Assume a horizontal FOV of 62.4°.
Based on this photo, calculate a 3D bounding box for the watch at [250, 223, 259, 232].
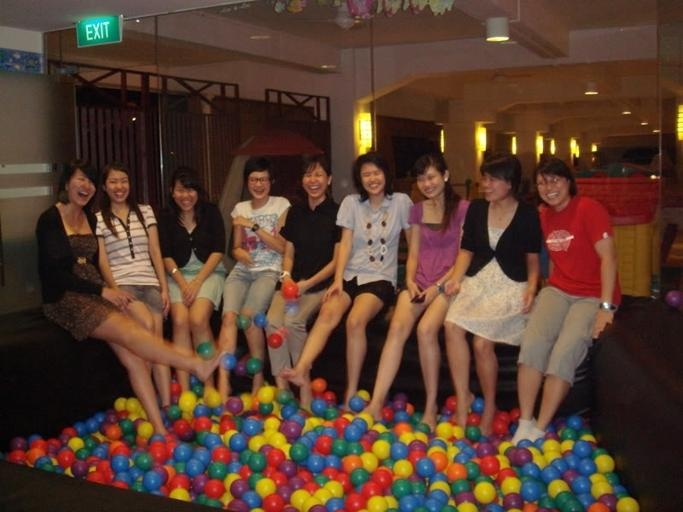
[{"bbox_3d":[-0.624,-0.198,4.044,0.060,0.059,0.045,6,56,-29],"label":"watch"}]

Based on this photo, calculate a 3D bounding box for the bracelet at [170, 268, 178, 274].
[{"bbox_3d":[-1.193,0.109,4.026,0.038,0.038,0.034,44,46,21],"label":"bracelet"}]

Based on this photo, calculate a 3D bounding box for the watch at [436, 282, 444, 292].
[{"bbox_3d":[0.631,0.205,3.598,0.036,0.025,0.049,4,56,-1],"label":"watch"}]

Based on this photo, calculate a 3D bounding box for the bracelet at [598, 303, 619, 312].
[{"bbox_3d":[1.521,0.291,3.221,0.074,0.057,0.080,8,4,29],"label":"bracelet"}]

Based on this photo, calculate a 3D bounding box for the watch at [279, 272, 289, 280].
[{"bbox_3d":[-0.387,0.143,3.821,0.023,0.071,0.054,13,-10,-22],"label":"watch"}]

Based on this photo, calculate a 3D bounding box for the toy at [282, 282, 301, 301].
[{"bbox_3d":[-0.336,0.236,3.683,0.101,0.118,0.066,-2,-12,-1],"label":"toy"}]
